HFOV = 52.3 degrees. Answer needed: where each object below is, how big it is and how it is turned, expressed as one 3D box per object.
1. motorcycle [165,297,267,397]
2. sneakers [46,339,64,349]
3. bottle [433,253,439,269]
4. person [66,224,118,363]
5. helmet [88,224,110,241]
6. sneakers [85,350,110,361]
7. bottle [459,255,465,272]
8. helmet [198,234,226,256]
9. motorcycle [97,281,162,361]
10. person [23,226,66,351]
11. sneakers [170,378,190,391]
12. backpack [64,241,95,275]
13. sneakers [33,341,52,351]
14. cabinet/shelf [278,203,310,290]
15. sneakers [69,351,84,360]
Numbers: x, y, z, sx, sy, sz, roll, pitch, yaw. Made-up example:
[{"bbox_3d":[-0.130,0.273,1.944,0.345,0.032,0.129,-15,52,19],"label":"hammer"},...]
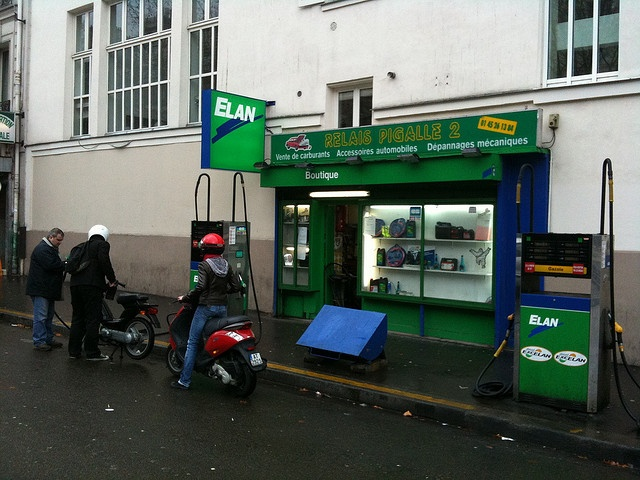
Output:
[{"bbox_3d":[-1.408,1.594,10.061,1.787,1.198,0.905,4,0,44],"label":"motorcycle"},{"bbox_3d":[-4.761,1.864,11.755,0.289,0.135,0.110,1,1,-1],"label":"sneakers"},{"bbox_3d":[2.209,0.394,12.413,0.110,0.276,0.118,0,11,0],"label":"bottle"},{"bbox_3d":[-3.857,0.959,11.011,0.847,2.222,0.537,-3,11,-17],"label":"person"},{"bbox_3d":[-4.156,-0.138,12.337,0.364,0.340,0.348,-2,15,2],"label":"helmet"},{"bbox_3d":[-3.745,1.951,11.068,0.404,0.187,0.155,1,1,-11],"label":"sneakers"},{"bbox_3d":[2.645,0.432,12.165,0.097,0.300,0.114,3,11,14],"label":"bottle"},{"bbox_3d":[-1.635,0.081,9.818,0.290,0.327,0.359,-5,20,-31],"label":"helmet"},{"bbox_3d":[-3.074,1.415,11.429,1.601,1.107,0.776,8,4,33],"label":"motorcycle"},{"bbox_3d":[-4.823,0.872,11.504,0.653,2.136,0.574,-4,12,-23],"label":"person"},{"bbox_3d":[-2.096,2.139,9.761,0.295,0.144,0.120,11,4,14],"label":"sneakers"},{"bbox_3d":[-4.049,0.295,10.889,0.421,0.546,0.348,-2,11,-13],"label":"backpack"},{"bbox_3d":[-4.913,1.881,11.533,0.243,0.123,0.126,1,2,0],"label":"sneakers"},{"bbox_3d":[-0.501,0.101,13.913,0.709,1.853,0.226,2,5,12],"label":"cabinet/shelf"},{"bbox_3d":[-4.142,1.943,11.101,0.084,0.116,0.242,4,7,19],"label":"sneakers"}]
